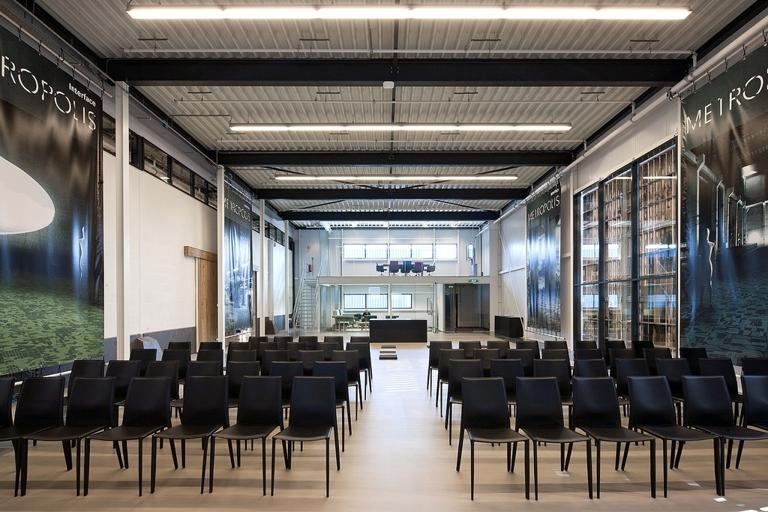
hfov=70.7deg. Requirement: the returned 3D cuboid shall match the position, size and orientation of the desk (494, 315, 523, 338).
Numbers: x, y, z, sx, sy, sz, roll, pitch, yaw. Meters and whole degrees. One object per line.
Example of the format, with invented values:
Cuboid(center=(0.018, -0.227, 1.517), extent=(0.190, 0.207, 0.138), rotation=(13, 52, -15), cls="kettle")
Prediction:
Cuboid(center=(5.249, 2.966, 22.753), extent=(0.577, 0.996, 2.467), rotation=(0, -9, -3), cls="desk")
